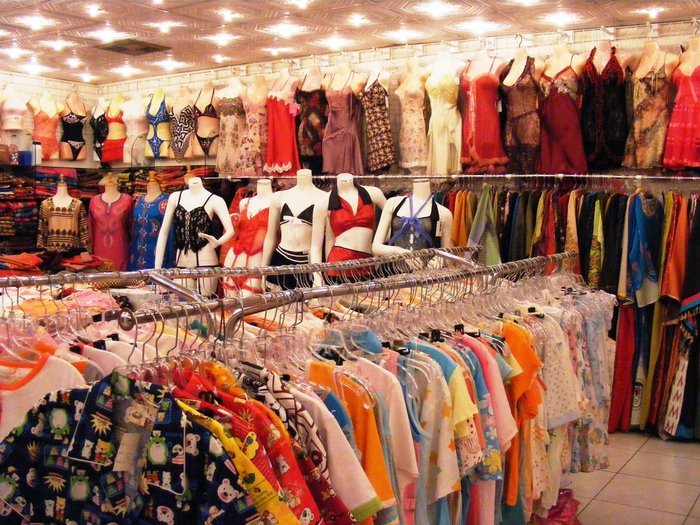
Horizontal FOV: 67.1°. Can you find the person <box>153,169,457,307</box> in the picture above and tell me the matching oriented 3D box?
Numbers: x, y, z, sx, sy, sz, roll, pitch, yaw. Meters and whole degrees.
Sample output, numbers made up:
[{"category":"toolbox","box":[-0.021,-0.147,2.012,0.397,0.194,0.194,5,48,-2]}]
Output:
[{"category":"person","box":[0.011,-0.288,4.334,1.353,0.953,1.160,5,9,38]}]
